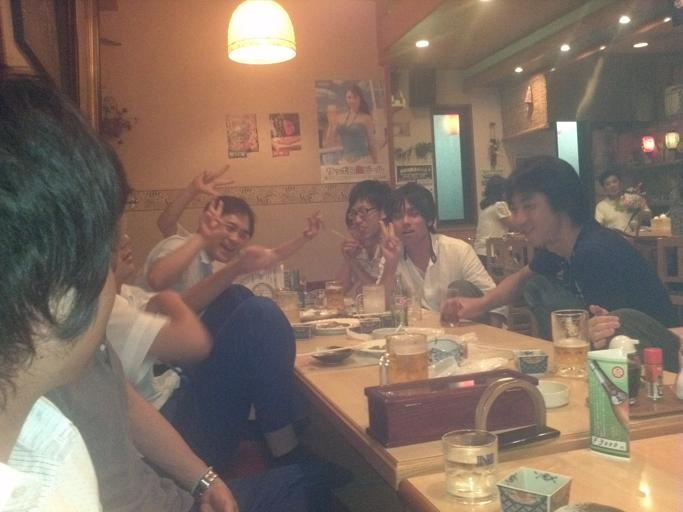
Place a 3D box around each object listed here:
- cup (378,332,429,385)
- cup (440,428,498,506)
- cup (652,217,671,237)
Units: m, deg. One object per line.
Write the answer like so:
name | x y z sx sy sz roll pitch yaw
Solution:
cup | 0.145 0.249 1.373 0.122 0.117 0.121 0 -11 0
cup | 0.218 0.358 0.971 0.096 0.108 0.101 -2 -6 0
cup | 0.919 -0.083 1.634 0.043 0.042 0.043 -1 6 0
